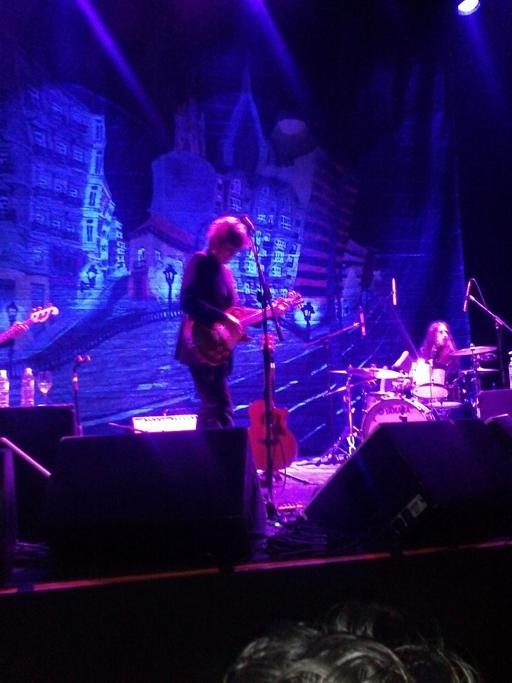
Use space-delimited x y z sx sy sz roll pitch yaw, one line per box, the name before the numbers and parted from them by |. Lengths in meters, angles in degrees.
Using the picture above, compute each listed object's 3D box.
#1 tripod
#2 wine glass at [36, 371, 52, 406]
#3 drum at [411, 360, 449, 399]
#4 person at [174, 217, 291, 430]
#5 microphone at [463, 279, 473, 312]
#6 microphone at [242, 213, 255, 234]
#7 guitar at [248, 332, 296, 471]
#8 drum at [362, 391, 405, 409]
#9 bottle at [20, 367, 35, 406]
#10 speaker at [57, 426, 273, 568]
tripod | 0.742 0.741 5.578 0.546 0.865 0.596 1 -7 0
wine glass | -1.685 0.343 5.095 0.134 0.236 0.558 -2 -16 -19
drum | 1.445 0.322 5.394 0.298 0.392 0.430 -10 -15 15
person | -0.181 -0.111 3.002 0.393 1.071 0.352 -4 -13 -8
microphone | 2.017 -0.431 6.097 0.043 0.335 0.048 3 -4 28
microphone | -0.026 -0.594 3.184 0.028 0.130 0.062 -25 8 -29
guitar | 0.084 0.386 4.200 0.345 1.006 0.085 -1 25 0
drum | 1.030 0.490 5.457 0.204 0.116 0.158 2 -3 -29
bottle | -1.876 0.377 5.265 0.107 0.302 0.120 -1 -14 -21
speaker | -0.275 0.433 1.886 0.412 0.389 0.307 1 -9 -3
